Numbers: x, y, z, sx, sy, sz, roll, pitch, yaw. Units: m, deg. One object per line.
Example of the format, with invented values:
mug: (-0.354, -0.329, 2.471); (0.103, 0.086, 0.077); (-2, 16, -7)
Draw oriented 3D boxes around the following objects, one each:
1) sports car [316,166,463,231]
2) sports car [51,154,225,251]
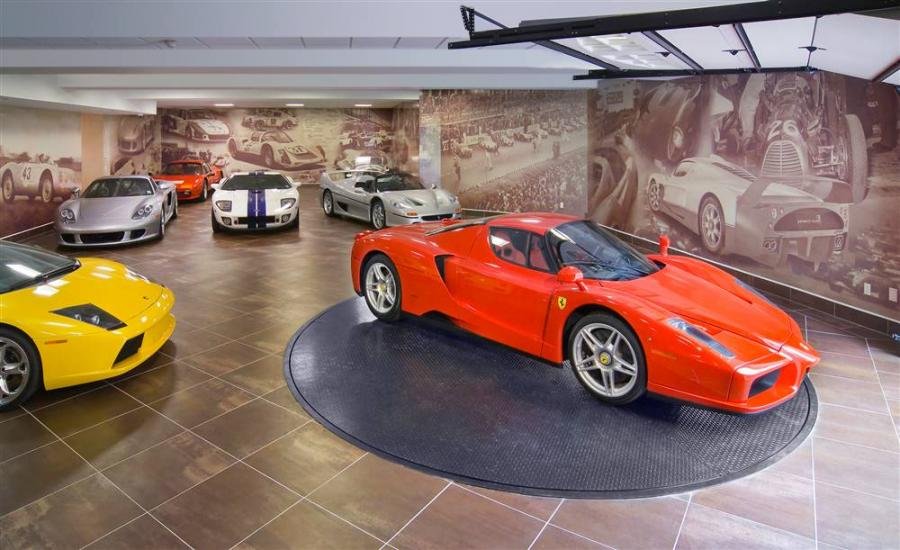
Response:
sports car: (-1.942, -2.325, 12.357); (4.289, 1.204, 2.094); (12, 15, 39)
sports car: (-8.441, -1.696, 10.759); (1.989, 1.637, 2.351); (-1, 15, -12)
